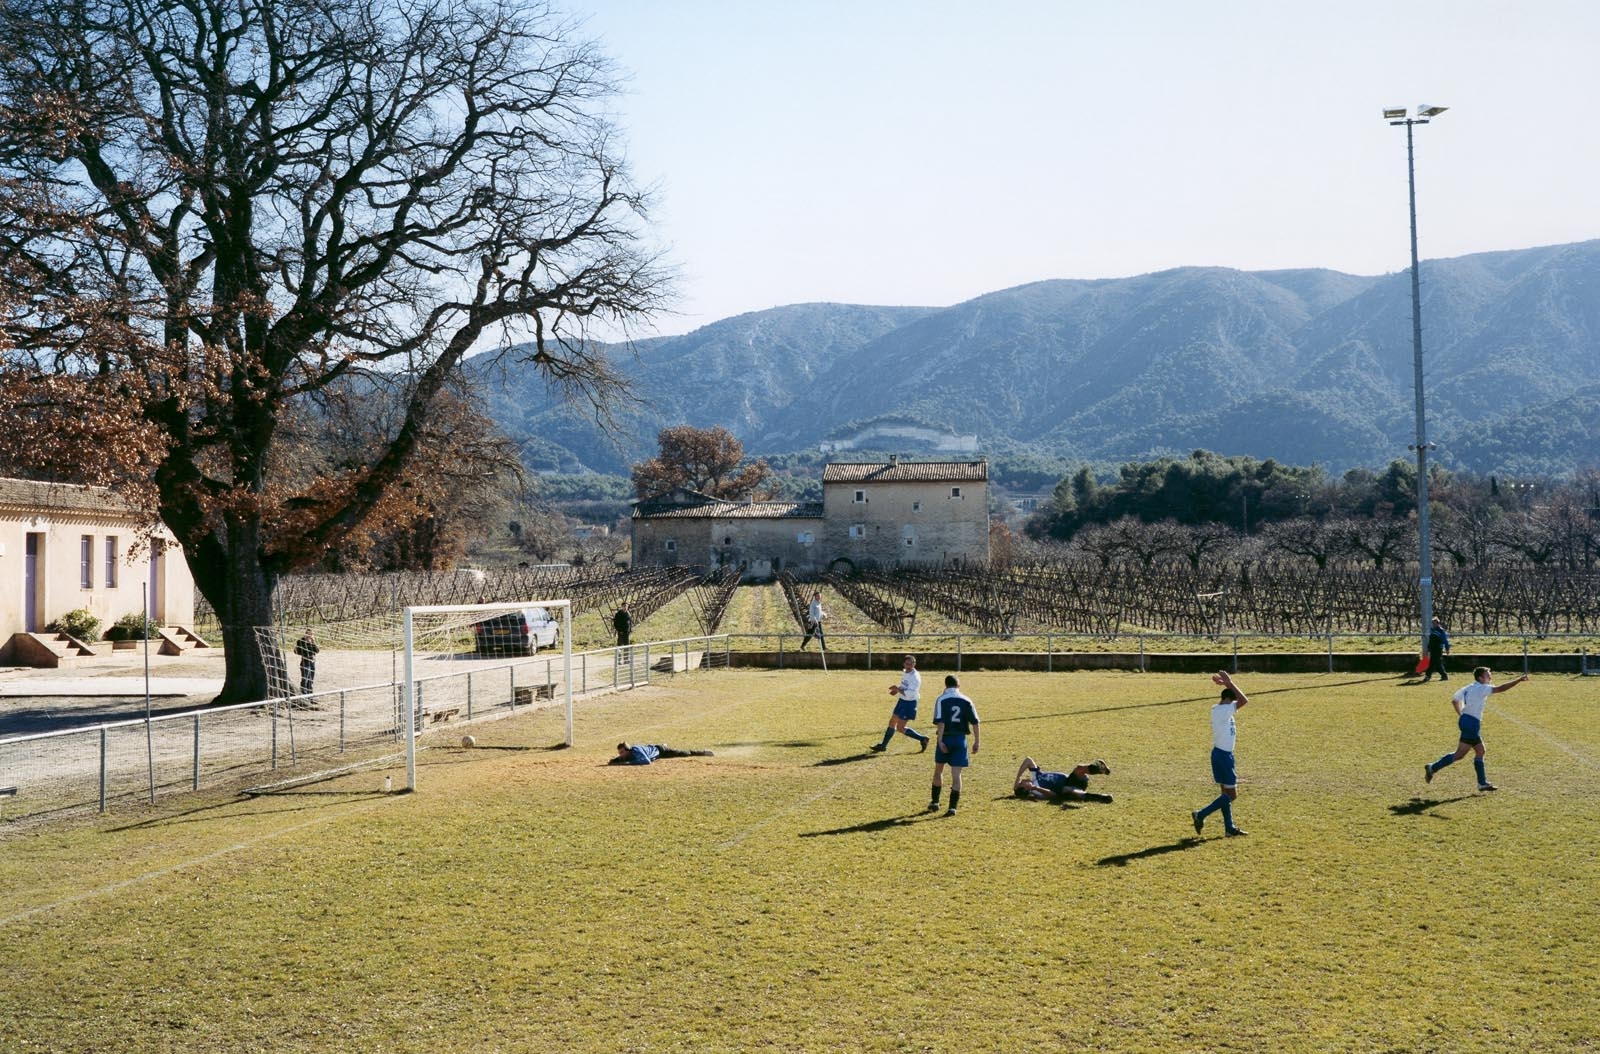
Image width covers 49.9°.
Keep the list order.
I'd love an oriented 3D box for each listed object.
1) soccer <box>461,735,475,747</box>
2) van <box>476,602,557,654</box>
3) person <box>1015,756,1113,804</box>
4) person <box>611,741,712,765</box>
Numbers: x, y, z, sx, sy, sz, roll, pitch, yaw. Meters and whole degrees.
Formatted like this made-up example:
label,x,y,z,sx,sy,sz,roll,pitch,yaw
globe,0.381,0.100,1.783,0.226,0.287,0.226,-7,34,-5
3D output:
label,x,y,z,sx,sy,sz,roll,pitch,yaw
soccer,-7.156,4.621,36.980,0.292,0.154,0.287,0,3,1
van,-9.234,3.335,55.334,2.230,1.601,4.339,0,6,7
person,4.882,4.804,32.278,1.328,0.486,0.904,-1,12,4
person,-2.927,4.619,35.088,1.412,0.357,0.722,4,-11,-13
